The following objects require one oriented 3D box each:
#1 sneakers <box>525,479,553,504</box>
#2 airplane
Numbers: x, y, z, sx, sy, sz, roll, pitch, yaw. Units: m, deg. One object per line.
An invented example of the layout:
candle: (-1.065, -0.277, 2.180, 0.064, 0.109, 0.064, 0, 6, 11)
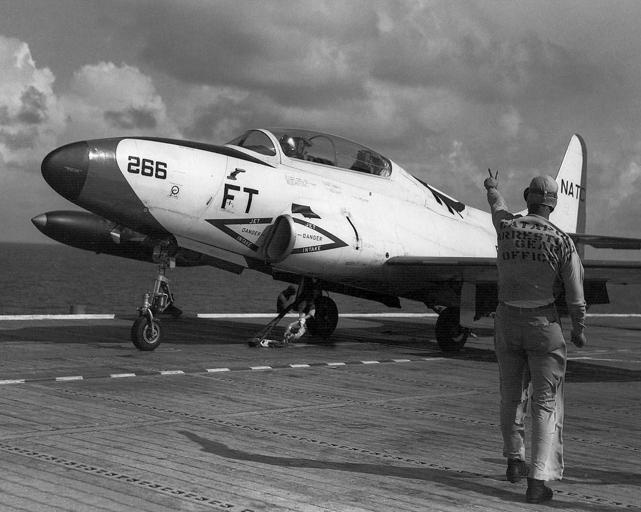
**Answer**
sneakers: (1.605, 1.666, 5.039, 0.280, 0.124, 0.111, 6, -1, -29)
airplane: (0.210, -0.609, 12.484, 8.246, 2.388, 8.040, 6, -1, -36)
